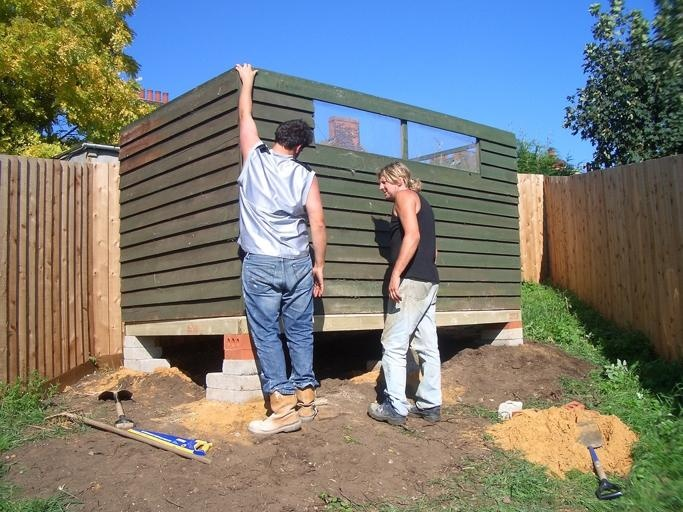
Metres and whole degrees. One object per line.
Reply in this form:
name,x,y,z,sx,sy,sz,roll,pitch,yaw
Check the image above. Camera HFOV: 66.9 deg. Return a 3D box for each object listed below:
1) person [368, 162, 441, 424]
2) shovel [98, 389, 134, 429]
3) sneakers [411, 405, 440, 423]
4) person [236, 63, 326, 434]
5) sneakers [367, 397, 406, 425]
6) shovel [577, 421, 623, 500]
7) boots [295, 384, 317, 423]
person,0.712,0.388,5.365,0.758,2.672,0.822,3,9,4
shovel,-2.220,1.539,5.193,0.350,0.121,0.626,6,12,-35
sneakers,0.875,1.609,5.431,0.310,0.156,0.127,10,9,41
person,-0.583,0.082,5.012,0.820,2.966,1.049,1,9,-12
sneakers,0.456,1.577,5.325,0.414,0.261,0.182,11,2,21
shovel,2.417,1.891,4.912,0.236,0.804,0.074,-21,2,28
boots,-0.375,1.451,5.228,0.194,0.359,0.577,4,-9,-9
